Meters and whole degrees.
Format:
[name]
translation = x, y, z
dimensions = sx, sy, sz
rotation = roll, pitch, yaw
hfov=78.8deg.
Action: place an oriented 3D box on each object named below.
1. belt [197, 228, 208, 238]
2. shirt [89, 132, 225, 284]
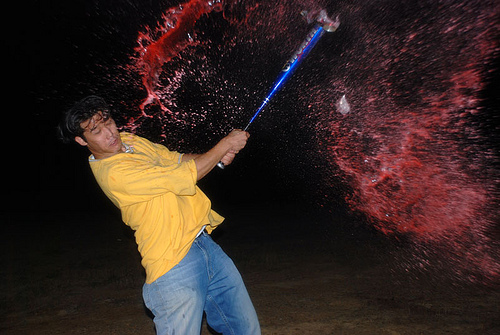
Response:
[belt]
translation = -0.500, 0.647, 2.989
dimensions = 0.098, 0.040, 0.106
rotation = 25, -47, 0
[shirt]
translation = -0.842, 0.327, 3.172
dimensions = 1.277, 1.137, 1.451
rotation = 2, -77, -10
